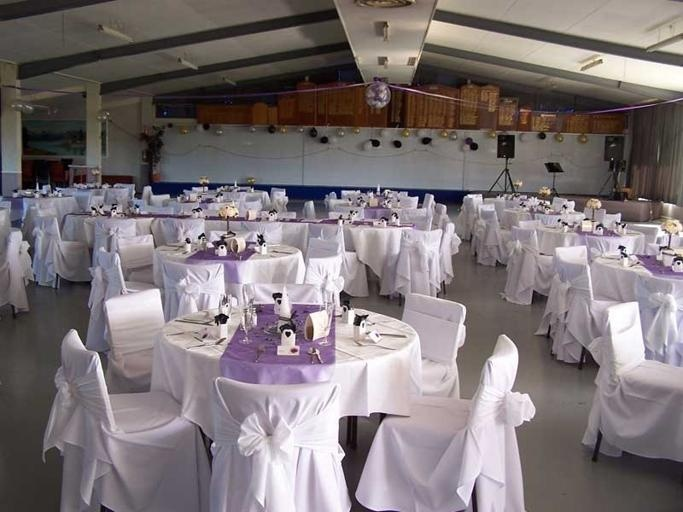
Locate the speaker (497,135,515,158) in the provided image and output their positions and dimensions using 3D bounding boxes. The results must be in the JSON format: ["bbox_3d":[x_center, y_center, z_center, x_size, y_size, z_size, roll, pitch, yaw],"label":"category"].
[{"bbox_3d":[5.068,-3.384,14.832,0.484,0.743,0.525,4,8,27],"label":"speaker"}]

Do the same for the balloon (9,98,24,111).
[{"bbox_3d":[-7.281,-3.356,10.872,0.232,0.126,0.384,5,-14,-20],"label":"balloon"}]

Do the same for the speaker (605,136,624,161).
[{"bbox_3d":[8.647,-3.421,15.259,0.525,0.817,0.985,4,8,29],"label":"speaker"}]

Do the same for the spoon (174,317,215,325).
[{"bbox_3d":[-0.952,0.419,3.128,0.248,0.015,0.103,1,7,4],"label":"spoon"}]

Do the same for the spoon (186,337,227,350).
[{"bbox_3d":[-0.775,0.493,2.809,0.201,0.033,0.171,0,7,-3],"label":"spoon"}]
